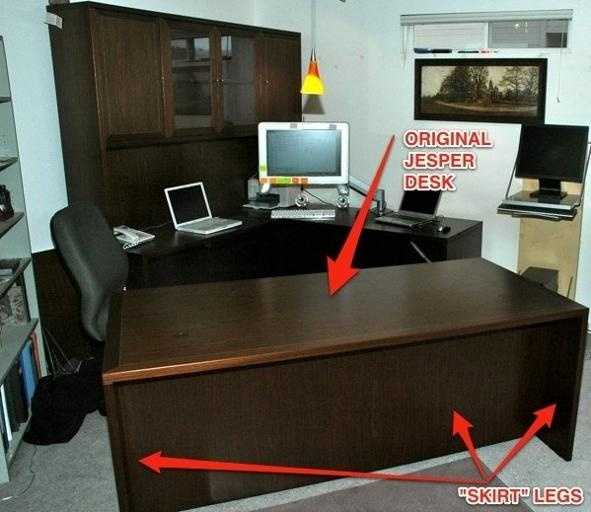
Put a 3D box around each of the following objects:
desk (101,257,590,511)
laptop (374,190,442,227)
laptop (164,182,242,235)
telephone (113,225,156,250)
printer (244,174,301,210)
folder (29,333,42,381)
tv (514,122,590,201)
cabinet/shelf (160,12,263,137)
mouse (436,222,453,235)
[{"bbox_3d":[0.222,0.588,2.310,1.964,0.812,0.757,-6,15,-17],"label":"desk"},{"bbox_3d":[0.891,-0.446,3.972,0.370,0.236,0.369,-9,14,-40],"label":"laptop"},{"bbox_3d":[-0.724,-0.373,3.877,0.520,0.326,0.445,10,19,36],"label":"laptop"},{"bbox_3d":[-1.128,-0.136,3.444,0.180,0.045,0.180,17,27,26],"label":"telephone"},{"bbox_3d":[-0.214,-0.609,4.498,0.336,0.231,0.352,6,11,21],"label":"printer"},{"bbox_3d":[-1.550,0.607,3.026,0.029,0.158,0.263,-5,26,-17],"label":"folder"},{"bbox_3d":[1.896,-0.691,3.723,0.522,0.578,0.183,8,19,33],"label":"tv"},{"bbox_3d":[-0.643,-1.345,3.800,0.374,0.885,0.990,7,12,35],"label":"cabinet/shelf"},{"bbox_3d":[1.089,-0.196,3.731,0.071,0.040,0.122,4,18,16],"label":"mouse"}]
